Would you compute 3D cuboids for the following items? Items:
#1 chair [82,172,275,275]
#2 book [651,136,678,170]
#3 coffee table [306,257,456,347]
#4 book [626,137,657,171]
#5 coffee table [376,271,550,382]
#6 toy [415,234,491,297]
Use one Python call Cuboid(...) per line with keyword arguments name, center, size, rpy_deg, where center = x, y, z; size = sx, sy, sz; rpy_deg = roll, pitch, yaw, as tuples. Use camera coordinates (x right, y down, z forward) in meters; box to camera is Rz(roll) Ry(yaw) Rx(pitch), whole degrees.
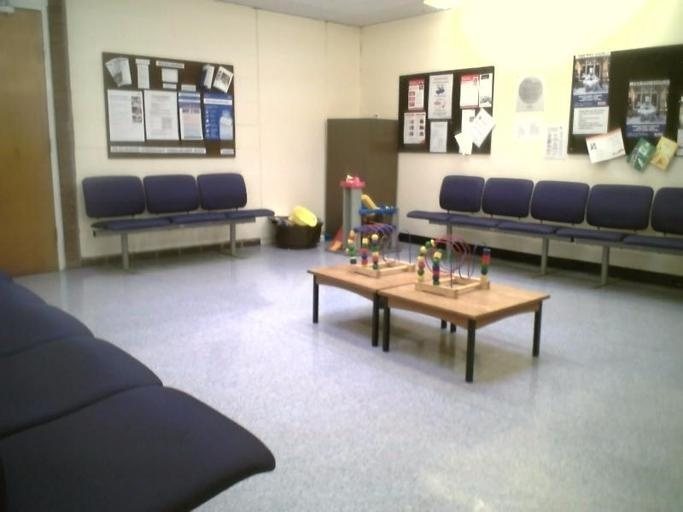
Cuboid(name="chair", center=(-2.138, -0.493, 6.393), size=(1.996, 1.149, 0.763), rpy_deg=(-11, 16, -37))
Cuboid(name="book", center=(3.480, -1.118, 5.334), size=(0.052, 0.339, 0.235), rpy_deg=(-15, 38, -36))
Cuboid(name="coffee table", center=(0.173, 0.204, 4.232), size=(0.811, 0.497, 0.771), rpy_deg=(-8, 13, -43))
Cuboid(name="book", center=(3.318, -1.138, 5.470), size=(0.055, 0.332, 0.245), rpy_deg=(-11, 40, -42))
Cuboid(name="coffee table", center=(0.923, 0.483, 3.793), size=(1.102, 0.545, 0.809), rpy_deg=(-10, 15, -32))
Cuboid(name="toy", center=(1.120, 0.085, 4.855), size=(0.561, 0.549, 0.563), rpy_deg=(5, 10, 45))
